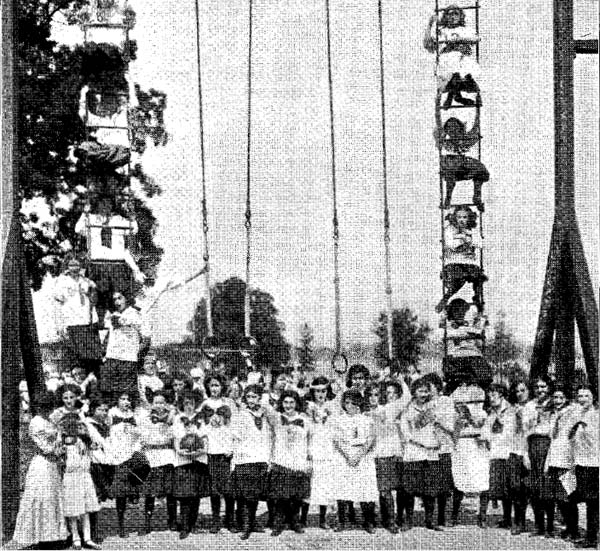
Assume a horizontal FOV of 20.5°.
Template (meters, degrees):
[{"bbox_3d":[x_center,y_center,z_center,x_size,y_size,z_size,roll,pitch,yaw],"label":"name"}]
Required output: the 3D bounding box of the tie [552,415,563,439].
[{"bbox_3d":[2.007,1.192,13.057,0.046,0.224,0.059,10,0,1],"label":"tie"}]

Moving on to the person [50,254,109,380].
[{"bbox_3d":[-1.720,0.328,13.025,0.271,0.846,0.384,-8,-22,23],"label":"person"}]

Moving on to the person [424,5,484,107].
[{"bbox_3d":[1.187,-1.703,13.041,0.444,0.724,0.258,-2,-20,6],"label":"person"}]

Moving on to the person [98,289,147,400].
[{"bbox_3d":[-1.385,0.554,13.019,0.303,0.770,0.277,3,-20,-7],"label":"person"}]
